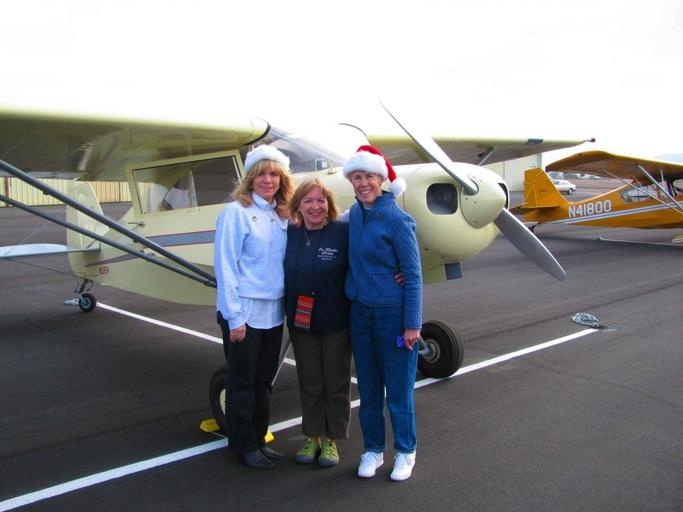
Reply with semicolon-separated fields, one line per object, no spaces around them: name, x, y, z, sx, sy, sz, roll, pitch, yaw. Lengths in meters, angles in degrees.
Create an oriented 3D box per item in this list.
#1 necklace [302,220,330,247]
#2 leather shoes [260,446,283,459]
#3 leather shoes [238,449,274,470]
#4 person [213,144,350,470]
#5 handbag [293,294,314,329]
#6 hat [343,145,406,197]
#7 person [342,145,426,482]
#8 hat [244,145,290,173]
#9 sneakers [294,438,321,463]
necklace;-0.184;-0.140;3.012;0.118;0.143;0.071;19;-10;12
leather shoes;-0.507;1.353;3.247;0.184;0.074;0.062;-5;-4;38
leather shoes;-0.573;1.349;3.156;0.232;0.088;0.111;2;0;20
person;-0.547;0.347;3.100;0.347;2.099;0.569;4;12;30
handbag;-0.245;0.357;2.976;0.132;0.221;0.035;2;11;17
hat;0.261;-0.550;3.096;0.313;0.221;0.441;16;-5;41
person;0.261;0.517;2.974;0.484;1.791;0.350;1;11;15
hat;-0.502;-0.677;3.224;0.235;0.146;0.263;4;-1;2
sneakers;-0.223;1.337;3.189;0.097;0.160;0.237;-8;-17;24
